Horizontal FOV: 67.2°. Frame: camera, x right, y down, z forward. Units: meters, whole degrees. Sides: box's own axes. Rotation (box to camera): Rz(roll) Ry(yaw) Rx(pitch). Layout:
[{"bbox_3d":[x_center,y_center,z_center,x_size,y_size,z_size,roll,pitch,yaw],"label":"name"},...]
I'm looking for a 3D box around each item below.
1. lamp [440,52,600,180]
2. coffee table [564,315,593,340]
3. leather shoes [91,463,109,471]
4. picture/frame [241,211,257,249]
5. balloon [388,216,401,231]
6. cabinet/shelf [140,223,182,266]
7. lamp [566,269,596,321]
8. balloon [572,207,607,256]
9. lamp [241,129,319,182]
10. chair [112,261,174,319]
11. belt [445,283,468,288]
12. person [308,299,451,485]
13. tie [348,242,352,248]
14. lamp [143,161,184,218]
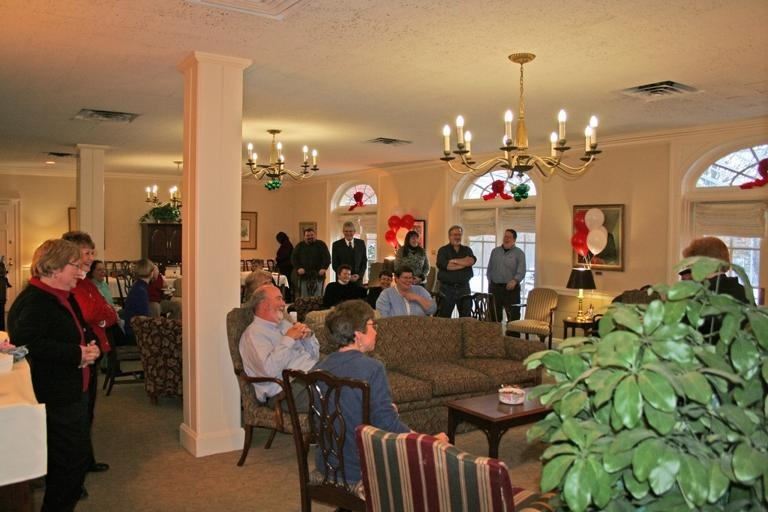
[{"bbox_3d":[1.400,-1.343,5.668,1.407,0.977,1.362,1,3,14],"label":"lamp"},{"bbox_3d":[2.913,1.079,8.672,0.400,0.412,1.082,1,2,16],"label":"coffee table"},{"bbox_3d":[-2.347,1.743,4.775,0.153,0.062,0.050,0,4,-3],"label":"leather shoes"},{"bbox_3d":[-3.855,-0.712,15.908,0.048,1.033,0.894,5,5,28],"label":"picture/frame"},{"bbox_3d":[0.196,-0.720,12.299,0.288,0.241,0.270,2,-2,-35],"label":"balloon"},{"bbox_3d":[-5.412,-0.305,13.974,1.145,1.025,0.430,-1,-2,-34],"label":"cabinet/shelf"},{"bbox_3d":[3.014,0.554,8.828,0.387,0.760,0.929,1,2,20],"label":"lamp"},{"bbox_3d":[3.173,-0.380,8.908,0.504,0.697,0.371,1,3,18],"label":"balloon"},{"bbox_3d":[-1.625,-1.455,8.754,1.166,0.791,1.195,1,1,22],"label":"lamp"},{"bbox_3d":[-3.474,0.495,8.306,0.469,1.007,0.594,19,27,33],"label":"chair"},{"bbox_3d":[1.207,0.465,9.402,0.327,0.080,0.093,0,2,-2],"label":"belt"},{"bbox_3d":[0.002,0.930,3.775,0.855,1.248,0.794,-6,-4,44],"label":"person"},{"bbox_3d":[-0.641,-0.217,10.675,0.048,0.023,0.158,-5,-27,-4],"label":"tie"},{"bbox_3d":[-5.218,-1.594,14.410,0.982,1.279,0.977,10,4,19],"label":"lamp"}]
